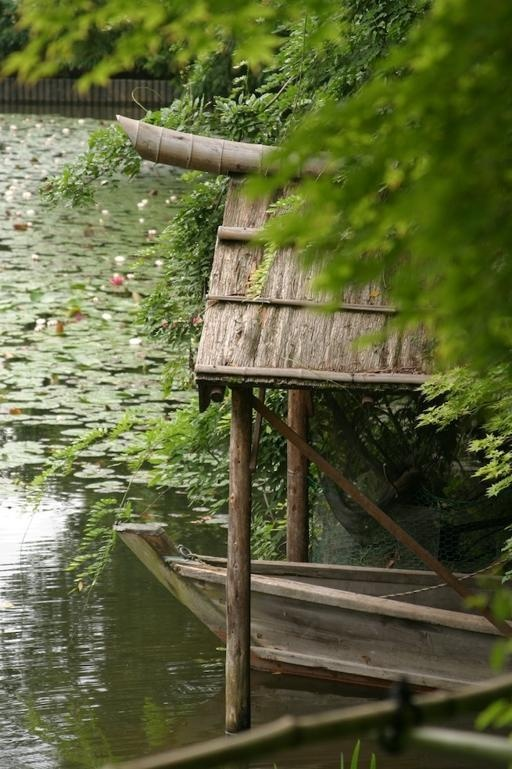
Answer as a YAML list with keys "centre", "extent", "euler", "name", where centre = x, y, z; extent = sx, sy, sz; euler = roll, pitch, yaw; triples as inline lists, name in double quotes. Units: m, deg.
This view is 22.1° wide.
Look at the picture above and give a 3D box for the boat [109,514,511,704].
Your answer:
- centre: [-0.032, 0.974, 5.662]
  extent: [2.154, 0.641, 0.692]
  euler: [4, 14, 17]
  name: "boat"
